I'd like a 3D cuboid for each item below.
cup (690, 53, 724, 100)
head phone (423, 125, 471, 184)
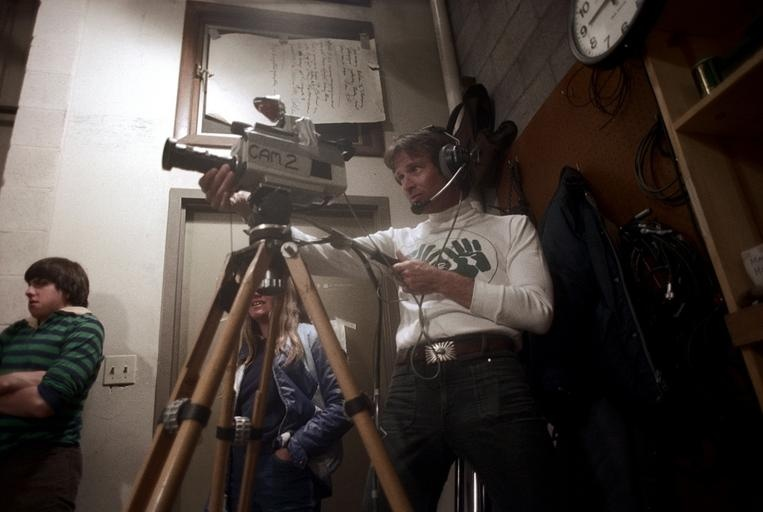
[{"bbox_3d":[1.241,-0.685,2.206,0.101,0.149,0.166,1,-4,1],"label":"cup"},{"bbox_3d":[0.295,-0.462,2.580,0.233,0.203,0.209,-24,9,-23],"label":"head phone"}]
